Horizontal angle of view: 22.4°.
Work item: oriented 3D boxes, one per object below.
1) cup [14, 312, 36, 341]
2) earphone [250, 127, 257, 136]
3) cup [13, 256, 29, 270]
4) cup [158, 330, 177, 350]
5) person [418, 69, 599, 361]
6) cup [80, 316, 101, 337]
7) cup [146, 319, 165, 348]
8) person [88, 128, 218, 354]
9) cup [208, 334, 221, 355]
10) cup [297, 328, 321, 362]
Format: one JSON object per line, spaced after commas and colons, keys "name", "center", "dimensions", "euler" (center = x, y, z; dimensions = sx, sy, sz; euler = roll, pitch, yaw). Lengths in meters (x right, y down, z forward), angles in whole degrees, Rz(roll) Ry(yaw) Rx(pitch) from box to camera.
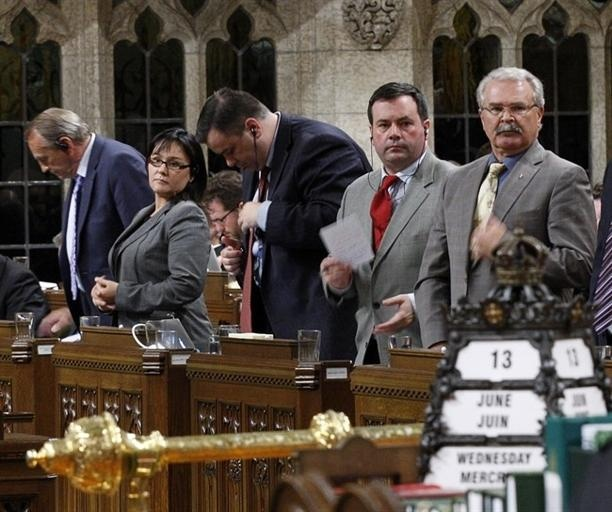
{"name": "cup", "center": [-1.491, 0.378, 8.225], "dimensions": [0.124, 0.164, 0.132], "euler": [0, -5, 0]}
{"name": "earphone", "center": [-0.277, -0.643, 8.061], "dimensions": [0.023, 0.038, 0.039], "euler": [-4, -33, -8]}
{"name": "cup", "center": [-2.046, 0.060, 11.094], "dimensions": [0.092, 0.127, 0.092], "euler": [1, 4, 0]}
{"name": "cup", "center": [-0.662, 0.405, 7.354], "dimensions": [0.082, 0.083, 0.152], "euler": [1, -3, 8]}
{"name": "person", "center": [0.863, -0.233, 6.732], "dimensions": [0.800, 0.890, 1.315], "euler": [-2, 1, 3]}
{"name": "cup", "center": [-1.107, 0.365, 7.874], "dimensions": [0.099, 0.105, 0.092], "euler": [1, -1, 0]}
{"name": "cup", "center": [-0.725, 0.383, 7.397], "dimensions": [0.081, 0.110, 0.170], "euler": [-2, 1, -6]}
{"name": "person", "center": [-0.796, -0.078, 7.985], "dimensions": [0.592, 0.949, 0.572], "euler": [-2, 1, -4]}
{"name": "cup", "center": [-0.429, 0.419, 7.334], "dimensions": [0.070, 0.103, 0.071], "euler": [1, -9, 0]}
{"name": "cup", "center": [0.002, 0.412, 6.827], "dimensions": [0.105, 0.133, 0.131], "euler": [2, -4, -36]}
